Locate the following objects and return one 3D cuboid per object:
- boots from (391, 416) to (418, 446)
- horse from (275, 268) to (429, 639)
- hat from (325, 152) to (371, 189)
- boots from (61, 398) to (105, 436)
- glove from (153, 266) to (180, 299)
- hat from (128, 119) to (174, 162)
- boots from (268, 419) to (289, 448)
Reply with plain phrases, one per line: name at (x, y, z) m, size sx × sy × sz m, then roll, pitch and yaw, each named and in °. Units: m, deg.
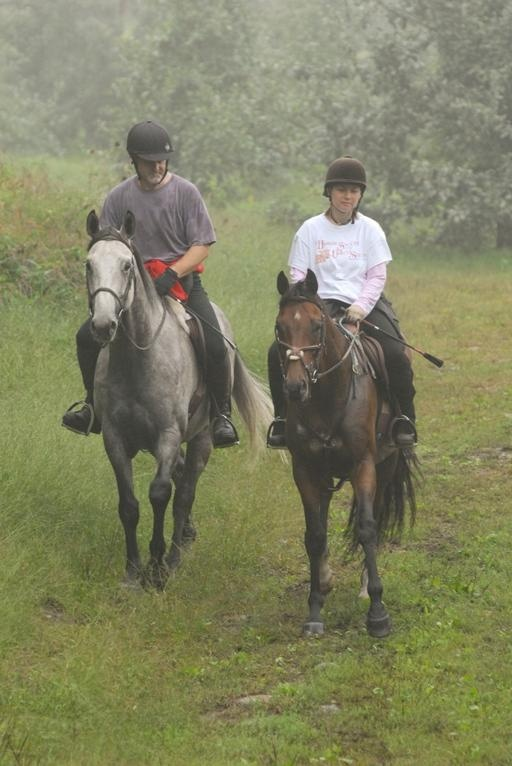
boots at (1.080, 0.333, 7.193) m, size 0.175 × 0.207 × 0.201 m, roll -4°, pitch 1°, yaw 7°
horse at (0.631, 0.374, 6.863) m, size 0.916 × 2.412 × 1.479 m, roll 2°, pitch 19°, yaw 9°
hat at (0.626, -1.484, 7.068) m, size 0.278 × 0.217 × 0.248 m, roll 0°, pitch 18°, yaw 3°
boots at (-1.339, 0.268, 7.700) m, size 0.231 × 0.211 × 0.394 m, roll 26°, pitch -2°, yaw 21°
glove at (-0.583, -0.721, 7.154) m, size 0.156 × 0.192 × 0.214 m, roll -10°, pitch 0°, yaw 28°
hat at (-0.752, -1.745, 7.068) m, size 0.286 × 0.183 × 0.323 m, roll -7°, pitch 41°, yaw -23°
boots at (0.159, 0.382, 7.634) m, size 0.164 × 0.209 × 0.233 m, roll 2°, pitch -6°, yaw -6°
